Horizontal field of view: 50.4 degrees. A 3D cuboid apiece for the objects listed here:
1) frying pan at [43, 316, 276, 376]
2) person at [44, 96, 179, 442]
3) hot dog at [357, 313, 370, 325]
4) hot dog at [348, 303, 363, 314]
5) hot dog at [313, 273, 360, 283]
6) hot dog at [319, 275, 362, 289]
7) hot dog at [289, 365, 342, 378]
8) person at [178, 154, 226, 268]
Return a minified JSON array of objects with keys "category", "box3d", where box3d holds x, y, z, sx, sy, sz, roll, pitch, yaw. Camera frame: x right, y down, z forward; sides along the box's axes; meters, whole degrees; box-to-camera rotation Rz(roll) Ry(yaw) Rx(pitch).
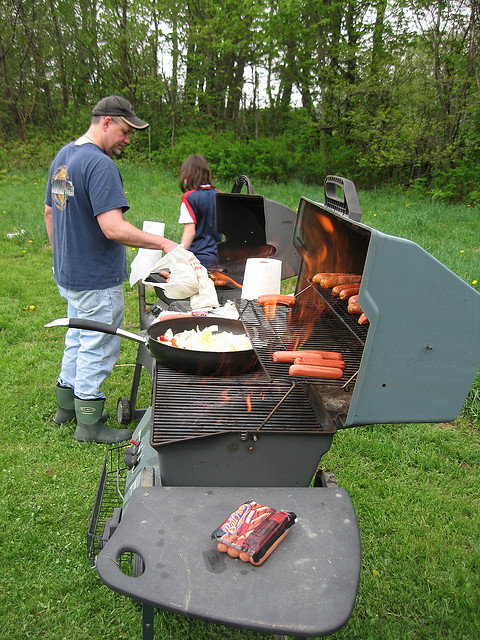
[{"category":"frying pan","box3d":[-0.378,0.082,2.053,0.860,0.136,0.462,5,15,-8]},{"category":"person","box3d":[-0.832,-0.221,3.019,0.626,2.075,0.823,-5,20,-21]},{"category":"hot dog","box3d":[0.408,-0.002,1.711,0.027,0.014,0.038,6,32,25]},{"category":"hot dog","box3d":[0.396,-0.036,1.757,0.039,0.043,0.089,-5,-2,15]},{"category":"hot dog","box3d":[0.406,-0.181,2.140,0.206,0.053,0.049,-1,-19,-7]},{"category":"hot dog","box3d":[0.414,-0.159,2.018,0.195,0.051,0.052,-4,-19,-8]},{"category":"hot dog","box3d":[0.218,0.150,1.481,0.173,0.043,0.052,3,-15,-4]},{"category":"person","box3d":[-0.310,-0.862,4.079,0.353,0.874,0.376,1,19,-5]}]
